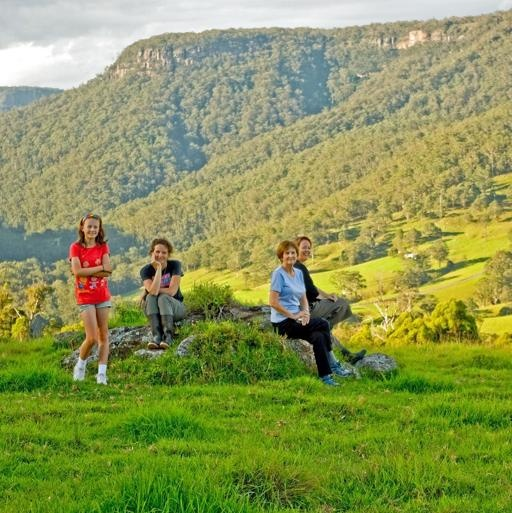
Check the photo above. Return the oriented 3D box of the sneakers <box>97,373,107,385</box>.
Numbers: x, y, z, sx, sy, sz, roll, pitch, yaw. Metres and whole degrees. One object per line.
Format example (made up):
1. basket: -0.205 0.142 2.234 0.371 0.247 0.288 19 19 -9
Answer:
1. sneakers: -1.983 1.549 10.227 0.136 0.145 0.265 -5 0 -13

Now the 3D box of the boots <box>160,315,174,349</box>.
1. boots: -1.294 1.068 11.524 0.203 0.480 0.442 -5 0 -7

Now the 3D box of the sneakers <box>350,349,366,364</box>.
1. sneakers: 1.536 1.524 12.164 0.254 0.204 0.436 -5 0 14

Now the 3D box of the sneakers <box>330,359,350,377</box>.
1. sneakers: 1.196 1.580 11.294 0.349 0.181 0.127 3 4 36

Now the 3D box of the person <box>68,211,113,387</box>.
1. person: -2.111 0.543 10.308 0.595 2.177 0.718 -5 0 -29

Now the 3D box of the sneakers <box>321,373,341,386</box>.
1. sneakers: 1.011 1.630 10.589 0.287 0.138 0.102 -3 1 36

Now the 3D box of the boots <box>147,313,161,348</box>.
1. boots: -1.462 1.060 11.549 0.196 0.509 0.602 -5 0 -8

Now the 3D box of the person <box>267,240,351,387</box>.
1. person: 0.621 0.733 11.245 0.751 2.000 1.342 -5 0 -21
